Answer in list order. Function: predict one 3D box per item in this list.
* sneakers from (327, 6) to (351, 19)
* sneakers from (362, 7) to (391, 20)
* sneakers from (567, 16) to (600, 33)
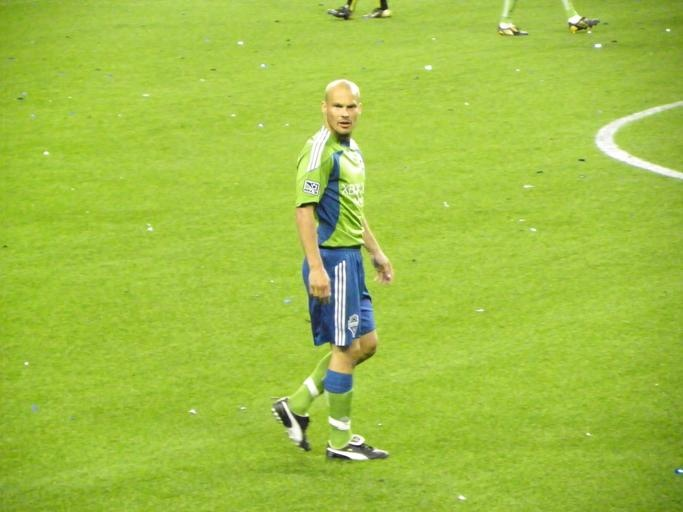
[{"bbox_3d":[0.052,-2.995,16.064,0.377,0.151,0.121,8,21,17],"label":"sneakers"},{"bbox_3d":[0.460,-2.985,16.164,0.361,0.114,0.116,1,13,11],"label":"sneakers"},{"bbox_3d":[2.811,-2.682,15.257,0.268,0.099,0.263,-14,29,-27],"label":"sneakers"}]
